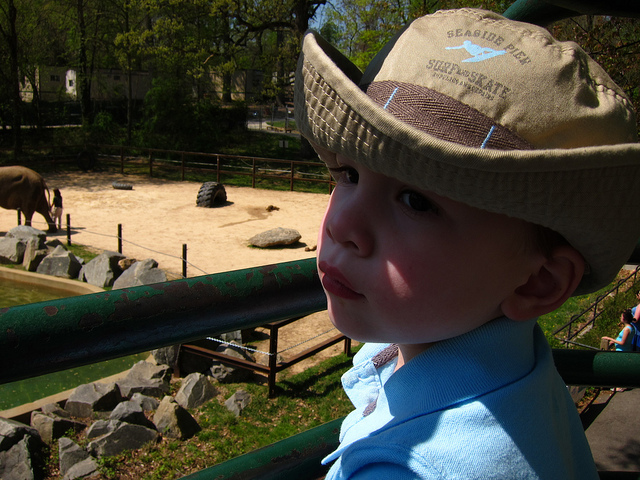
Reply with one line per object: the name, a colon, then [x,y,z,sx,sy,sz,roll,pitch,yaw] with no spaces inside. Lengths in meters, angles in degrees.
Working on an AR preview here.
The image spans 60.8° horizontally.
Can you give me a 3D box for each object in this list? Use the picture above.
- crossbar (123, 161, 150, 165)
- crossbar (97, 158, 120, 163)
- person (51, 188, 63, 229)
crossbar: [-8.018,-3.373,23.603,1.374,0.088,0.350,13,21,24]
crossbar: [-9.395,-3.569,24.187,1.109,0.073,0.571,6,19,5]
person: [-6.277,-0.826,12.967,0.222,1.063,1.418,-5,20,-26]
